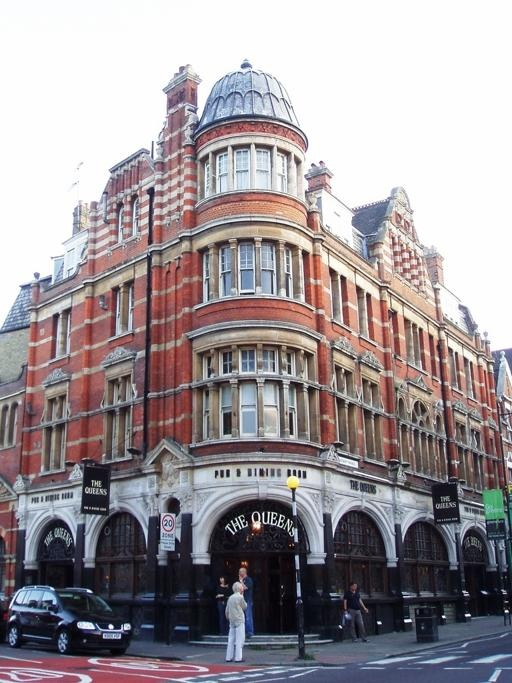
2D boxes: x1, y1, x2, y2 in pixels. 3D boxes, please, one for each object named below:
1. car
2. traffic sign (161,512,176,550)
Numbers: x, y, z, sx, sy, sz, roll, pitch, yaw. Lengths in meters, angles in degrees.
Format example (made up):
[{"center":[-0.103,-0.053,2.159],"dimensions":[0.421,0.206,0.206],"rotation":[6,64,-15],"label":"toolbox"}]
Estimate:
[{"center":[-4.720,6.879,15.723],"dimensions":[1.598,1.546,4.296],"rotation":[17,-30,-38],"label":"car"},{"center":[-2.317,4.994,16.659],"dimensions":[0.336,0.940,0.438],"rotation":[4,-24,-13],"label":"traffic sign"}]
